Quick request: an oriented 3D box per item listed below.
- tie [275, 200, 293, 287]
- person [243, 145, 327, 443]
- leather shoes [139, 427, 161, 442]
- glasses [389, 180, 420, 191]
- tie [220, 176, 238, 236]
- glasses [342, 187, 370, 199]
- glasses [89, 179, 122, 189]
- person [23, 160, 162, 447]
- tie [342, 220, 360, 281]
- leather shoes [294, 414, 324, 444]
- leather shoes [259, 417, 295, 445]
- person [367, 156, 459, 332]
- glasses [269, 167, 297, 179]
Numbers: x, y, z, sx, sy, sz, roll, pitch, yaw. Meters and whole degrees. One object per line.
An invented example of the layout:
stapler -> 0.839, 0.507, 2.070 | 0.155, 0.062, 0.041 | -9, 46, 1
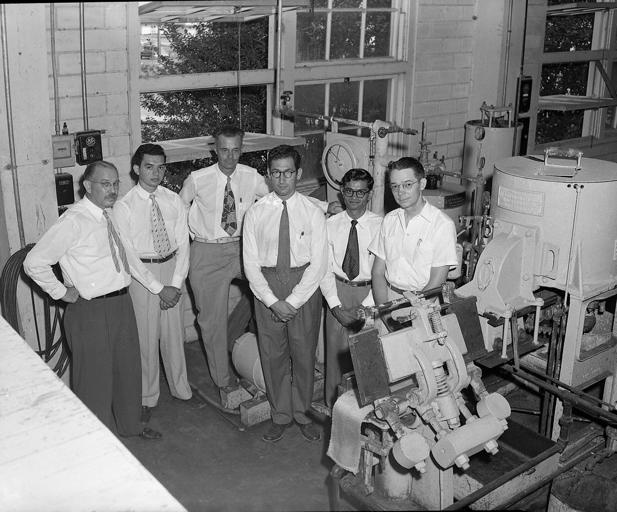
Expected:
tie -> -0.162, -0.088, 3.344 | 0.085, 0.530, 0.151 | 3, 15, 19
person -> -0.147, 0.287, 3.453 | 0.574, 2.046, 0.368 | -2, 14, 2
leather shoes -> -1.127, 1.273, 3.530 | 0.175, 0.083, 0.072 | 5, 26, 14
glasses -> 0.547, -0.398, 2.830 | 0.150, 0.055, 0.061 | 0, 16, 11
tie -> -0.618, -0.369, 3.798 | 0.128, 0.436, 0.058 | -8, 15, -22
glasses -> 0.330, -0.444, 3.439 | 0.194, 0.089, 0.115 | -1, 16, 6
glasses -> -1.266, -0.442, 3.084 | 0.163, 0.061, 0.070 | -13, 18, -31
person -> -1.403, 0.471, 3.193 | 0.560, 1.712, 0.212 | -12, 17, -33
tie -> 0.308, -0.034, 3.484 | 0.126, 0.406, 0.105 | -11, 16, -30
leather shoes -> 0.004, 1.250, 3.636 | 0.102, 0.114, 0.260 | -18, 32, -32
leather shoes -> -0.237, 1.231, 3.590 | 0.100, 0.106, 0.240 | 12, 25, 36
person -> 0.626, -0.129, 2.984 | 0.510, 0.923, 0.307 | 1, 15, 15
glasses -> -0.163, -0.537, 3.252 | 0.167, 0.067, 0.091 | -7, 16, -12
